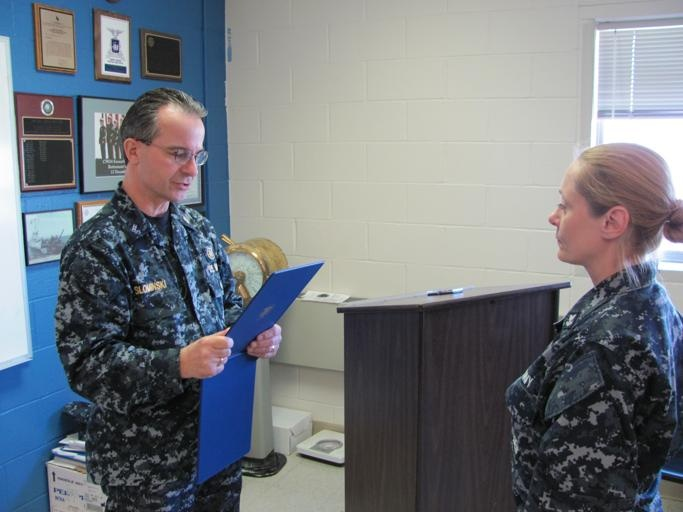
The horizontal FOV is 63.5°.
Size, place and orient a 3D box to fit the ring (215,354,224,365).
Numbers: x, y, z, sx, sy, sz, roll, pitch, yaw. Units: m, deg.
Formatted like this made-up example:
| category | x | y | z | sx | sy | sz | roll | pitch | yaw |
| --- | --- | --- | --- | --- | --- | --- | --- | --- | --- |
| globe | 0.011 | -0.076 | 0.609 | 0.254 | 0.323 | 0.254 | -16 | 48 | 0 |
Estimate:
| category | x | y | z | sx | sy | sz | roll | pitch | yaw |
| --- | --- | --- | --- | --- | --- | --- | --- | --- | --- |
| ring | -0.394 | 0.332 | 1.788 | 0.027 | 0.028 | 0.027 | 16 | -7 | 2 |
